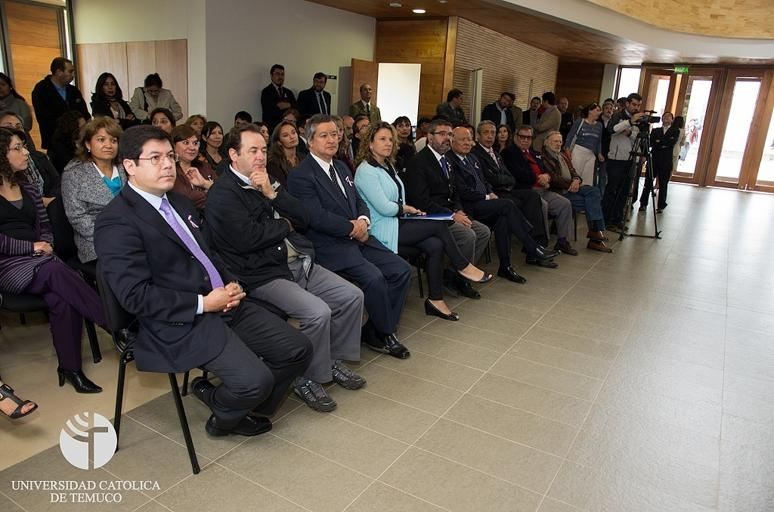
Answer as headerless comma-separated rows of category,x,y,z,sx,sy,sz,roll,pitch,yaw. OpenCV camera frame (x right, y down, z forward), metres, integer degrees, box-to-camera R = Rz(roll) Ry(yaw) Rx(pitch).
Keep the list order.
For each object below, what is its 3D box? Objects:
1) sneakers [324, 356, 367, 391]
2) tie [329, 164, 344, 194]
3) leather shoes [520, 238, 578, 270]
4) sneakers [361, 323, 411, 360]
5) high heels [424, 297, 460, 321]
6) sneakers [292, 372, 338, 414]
sneakers,-0.305,0.871,3.531,0.325,0.134,0.127,7,15,25
tie,-0.429,-0.647,3.957,0.058,0.045,0.384,-14,68,-10
leather shoes,1.990,0.007,5.963,0.641,0.269,0.212,-7,5,38
sneakers,-0.040,0.674,4.011,0.542,0.221,0.184,11,18,32
high heels,0.485,0.513,4.608,0.410,0.167,0.137,4,5,18
sneakers,-0.497,0.930,3.322,0.203,0.183,0.337,-18,27,-38
